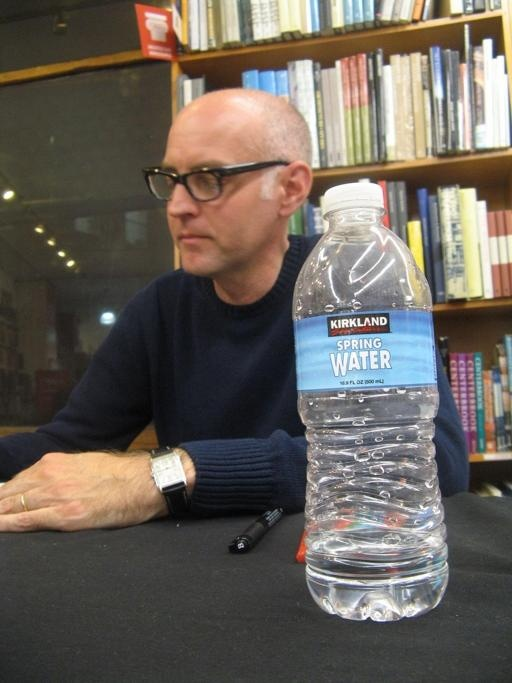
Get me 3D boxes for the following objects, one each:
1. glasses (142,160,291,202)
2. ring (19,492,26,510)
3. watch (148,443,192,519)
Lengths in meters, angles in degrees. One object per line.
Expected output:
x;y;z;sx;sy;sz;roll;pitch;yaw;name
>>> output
-0.084;-0.283;1.164;0.278;0.081;0.187;-1;7;4;glasses
-0.283;0.196;0.789;0.006;0.014;0.012;-13;6;-28;ring
-0.103;0.167;0.779;0.050;0.064;0.079;-15;33;-13;watch
